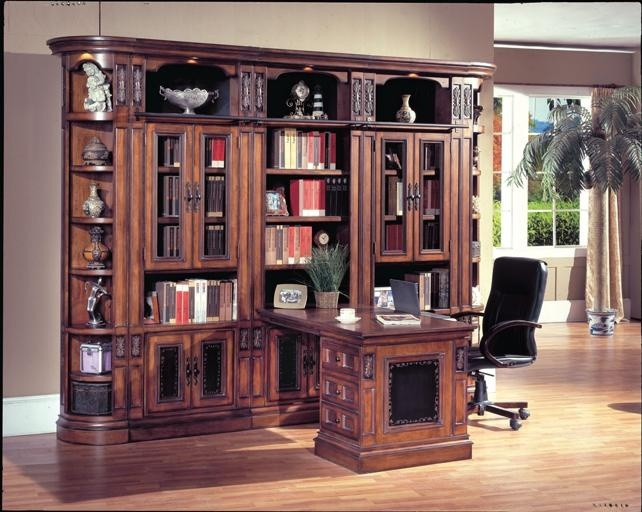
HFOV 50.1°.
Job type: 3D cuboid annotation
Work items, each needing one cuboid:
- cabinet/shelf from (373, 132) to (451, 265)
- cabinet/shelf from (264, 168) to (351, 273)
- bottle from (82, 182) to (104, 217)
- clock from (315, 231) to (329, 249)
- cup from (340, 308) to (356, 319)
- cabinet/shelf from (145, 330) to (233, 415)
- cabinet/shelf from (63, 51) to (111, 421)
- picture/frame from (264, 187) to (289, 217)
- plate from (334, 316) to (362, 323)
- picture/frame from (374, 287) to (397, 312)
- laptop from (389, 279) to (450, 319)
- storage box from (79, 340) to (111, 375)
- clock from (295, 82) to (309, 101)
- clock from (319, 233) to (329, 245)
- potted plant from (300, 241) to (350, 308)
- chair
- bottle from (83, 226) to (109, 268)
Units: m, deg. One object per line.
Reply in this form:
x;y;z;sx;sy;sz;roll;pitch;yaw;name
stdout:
0.791;-0.489;5.986;0.647;1.113;0.329;0;-3;7;cabinet/shelf
-0.209;-0.308;5.787;0.739;0.742;0.254;-8;16;-29;cabinet/shelf
-1.755;-0.422;5.266;0.168;0.257;0.226;-1;4;-19;bottle
0.008;-0.141;5.867;0.126;0.130;0.041;-16;11;-31;clock
0.186;0.406;4.907;0.073;0.054;0.076;0;2;0;cup
-1.066;0.910;5.459;0.714;0.648;0.254;0;-3;-25;cabinet/shelf
-1.784;-0.129;5.216;0.406;2.649;0.338;-1;4;-18;cabinet/shelf
-0.379;-0.451;5.711;0.200;0.236;0.169;-1;4;-18;picture/frame
0.193;0.444;4.908;0.179;0.044;0.231;0;4;2;plate
0.531;0.364;5.675;0.187;0.185;0.067;0;-7;4;picture/frame
0.647;0.361;5.292;0.327;0.213;0.333;-10;-10;27;laptop
-1.733;0.780;5.298;0.272;0.223;0.263;3;-4;-41;storage box
-0.162;-1.375;5.780;0.121;0.153;0.062;-5;7;-15;clock
0.023;-0.144;5.858;0.089;0.093;0.021;-2;0;-33;clock
0.047;0.157;5.723;0.347;0.507;0.442;1;4;10;potted plant
1.347;0.702;5.619;0.893;1.340;0.909;2;1;29;chair
-1.749;-0.055;5.307;0.223;0.324;0.224;-2;-4;0;bottle
